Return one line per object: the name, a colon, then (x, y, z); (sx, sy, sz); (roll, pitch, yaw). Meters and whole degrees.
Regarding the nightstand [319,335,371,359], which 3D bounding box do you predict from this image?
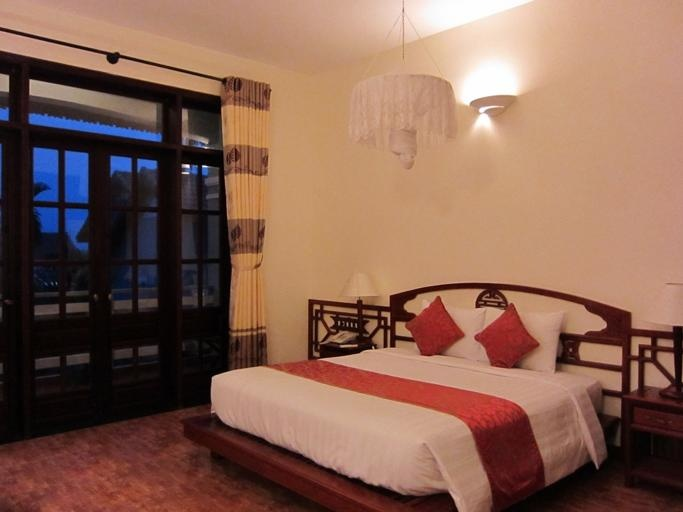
nightstand: (0.071, 0.967, 5.603); (0.317, 0.218, 0.325); (4, -6, -43)
